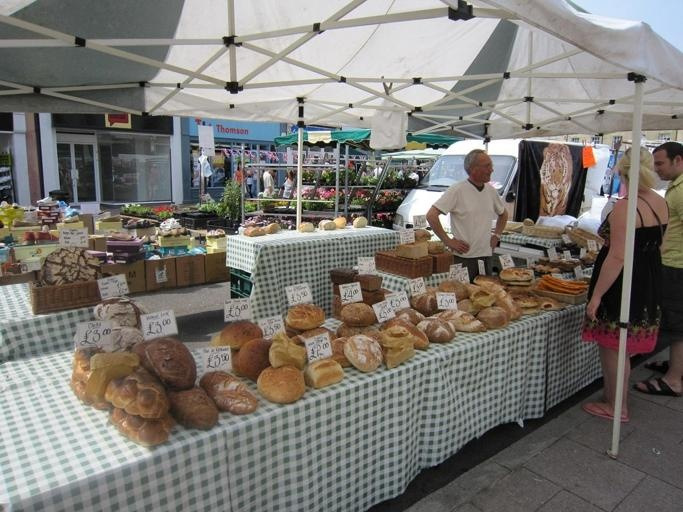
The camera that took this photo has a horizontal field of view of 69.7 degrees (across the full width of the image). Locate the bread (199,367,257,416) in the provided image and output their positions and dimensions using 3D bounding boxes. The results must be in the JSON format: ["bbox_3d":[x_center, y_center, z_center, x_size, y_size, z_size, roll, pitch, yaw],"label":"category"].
[{"bbox_3d":[-0.639,0.764,2.767,0.177,0.087,0.335,7,8,-46],"label":"bread"}]

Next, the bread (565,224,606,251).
[{"bbox_3d":[2.812,-0.228,5.804,0.338,0.123,0.579,-18,24,-35],"label":"bread"}]

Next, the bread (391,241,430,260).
[{"bbox_3d":[0.720,-0.065,4.815,0.214,0.105,0.207,6,13,34],"label":"bread"}]

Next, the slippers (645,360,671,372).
[{"bbox_3d":[3.375,1.183,5.216,0.265,0.058,0.088,4,27,34],"label":"slippers"}]

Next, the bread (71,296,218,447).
[{"bbox_3d":[-1.170,0.618,2.725,0.916,0.265,0.618,25,19,30],"label":"bread"}]

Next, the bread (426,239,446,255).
[{"bbox_3d":[0.950,-0.081,4.946,0.150,0.074,0.151,6,8,44],"label":"bread"}]

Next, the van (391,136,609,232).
[{"bbox_3d":[3.556,-1.538,9.945,4.226,1.885,2.220,0,8,-25],"label":"van"}]

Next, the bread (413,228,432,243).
[{"bbox_3d":[0.831,-0.203,5.021,0.130,0.065,0.158,-6,8,-10],"label":"bread"}]
